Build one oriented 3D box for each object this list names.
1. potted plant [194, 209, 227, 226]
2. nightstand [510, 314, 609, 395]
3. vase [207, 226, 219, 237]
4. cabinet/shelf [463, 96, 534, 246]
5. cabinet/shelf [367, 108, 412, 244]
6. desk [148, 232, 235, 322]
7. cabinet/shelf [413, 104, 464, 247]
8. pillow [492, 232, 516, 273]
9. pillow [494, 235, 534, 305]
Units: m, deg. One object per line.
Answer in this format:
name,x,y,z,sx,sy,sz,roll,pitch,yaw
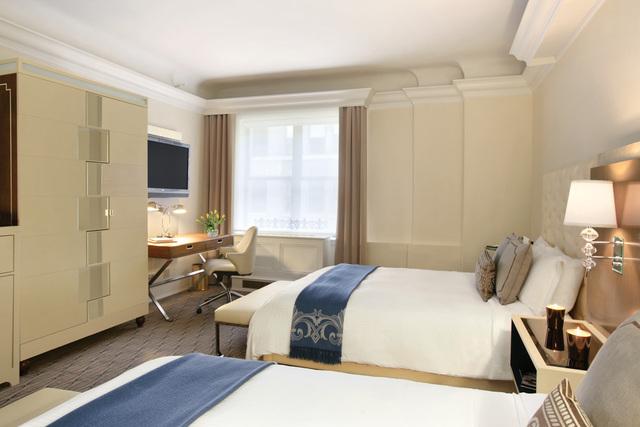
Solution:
potted plant,-1.661,0.083,6.331,0.352,0.246,0.346,-6,-7,36
nightstand,1.657,1.020,2.905,0.517,0.505,0.795,2,3,18
vase,-1.583,0.277,6.093,0.129,0.126,0.172,-3,-7,25
cabinet/shelf,2.470,-0.575,5.730,0.918,2.133,0.473,3,14,9
cabinet/shelf,1.051,-0.596,6.211,0.692,2.002,0.535,2,14,6
desk,-2.007,0.840,5.849,0.898,0.992,1.500,1,3,18
cabinet/shelf,1.707,-0.578,5.981,0.742,2.026,0.463,3,14,11
pillow,1.865,0.411,4.253,0.133,0.336,0.326,16,33,14
pillow,1.763,0.541,3.726,0.189,0.370,0.554,2,-1,13
